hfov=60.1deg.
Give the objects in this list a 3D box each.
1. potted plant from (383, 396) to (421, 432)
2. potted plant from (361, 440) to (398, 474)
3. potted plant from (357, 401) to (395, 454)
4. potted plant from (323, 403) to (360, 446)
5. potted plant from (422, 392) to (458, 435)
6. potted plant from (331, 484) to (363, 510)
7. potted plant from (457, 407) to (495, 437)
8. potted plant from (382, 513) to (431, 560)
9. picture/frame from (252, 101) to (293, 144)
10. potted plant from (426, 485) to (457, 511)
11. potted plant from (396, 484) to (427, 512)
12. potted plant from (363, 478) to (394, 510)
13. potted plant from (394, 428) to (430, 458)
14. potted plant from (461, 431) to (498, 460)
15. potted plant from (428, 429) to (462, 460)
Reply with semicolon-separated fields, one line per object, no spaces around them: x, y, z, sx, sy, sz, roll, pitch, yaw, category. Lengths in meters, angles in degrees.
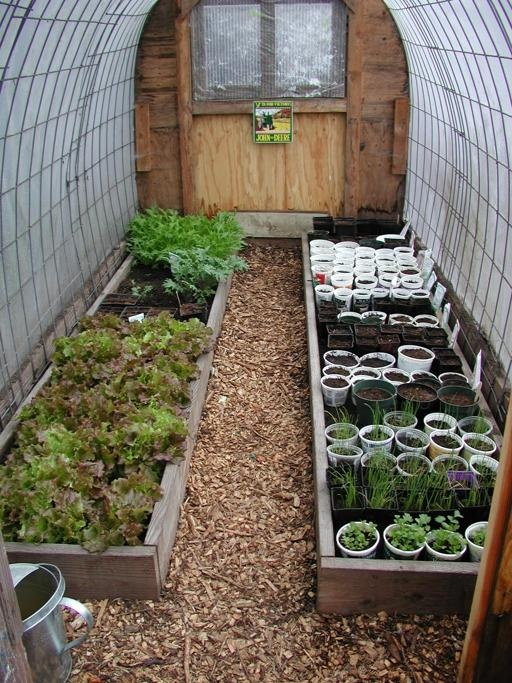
0.857;0.452;2.628;0.176;0.208;0.189;-14;25;-12;potted plant
0.639;0.601;2.296;0.127;0.126;0.128;-6;17;-11;potted plant
0.691;0.544;2.485;0.165;0.252;0.172;-2;-1;4;potted plant
0.498;0.493;2.614;0.163;0.207;0.212;-1;13;2;potted plant
1.038;0.423;2.510;0.141;0.103;0.138;-19;34;-19;potted plant
0.430;0.729;2.090;0.114;0.042;0.118;2;22;7;potted plant
1.241;0.453;2.490;0.119;0.048;0.135;-1;27;3;potted plant
0.641;0.830;1.875;0.175;0.165;0.135;-11;24;-30;potted plant
0.199;-2.603;5.192;0.435;0.414;0.060;2;22;7;picture/frame
0.868;0.734;2.069;0.109;0.070;0.113;3;29;14;potted plant
0.729;0.730;2.067;0.126;0.106;0.109;4;23;17;potted plant
0.565;0.724;2.067;0.130;0.130;0.138;7;26;10;potted plant
0.852;0.553;2.437;0.146;0.115;0.154;-12;24;-19;potted plant
1.169;0.573;2.345;0.145;0.103;0.147;-21;30;-31;potted plant
1.018;0.549;2.389;0.147;0.133;0.155;-5;24;-10;potted plant
